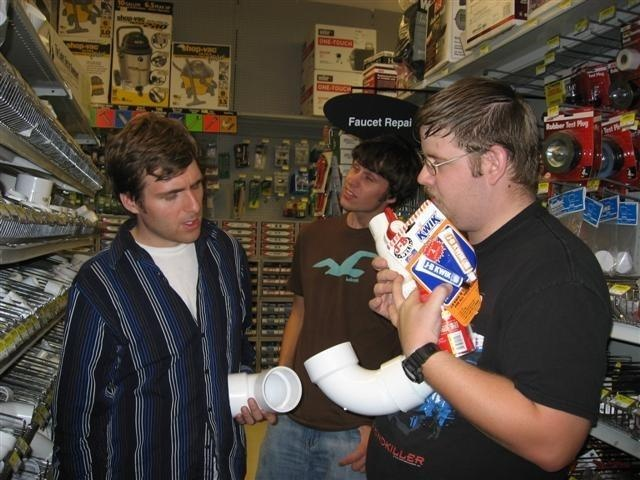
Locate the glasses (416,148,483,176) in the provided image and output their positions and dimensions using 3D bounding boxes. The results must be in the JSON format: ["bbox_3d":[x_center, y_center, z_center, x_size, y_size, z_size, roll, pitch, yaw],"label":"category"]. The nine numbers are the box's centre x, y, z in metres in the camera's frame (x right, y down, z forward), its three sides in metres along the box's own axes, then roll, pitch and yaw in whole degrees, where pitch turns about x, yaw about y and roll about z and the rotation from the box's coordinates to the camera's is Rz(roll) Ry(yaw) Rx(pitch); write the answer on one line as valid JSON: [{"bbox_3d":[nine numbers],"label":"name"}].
[{"bbox_3d":[0.396,-0.234,1.532,0.119,0.037,0.116,-25,13,-4],"label":"glasses"}]
